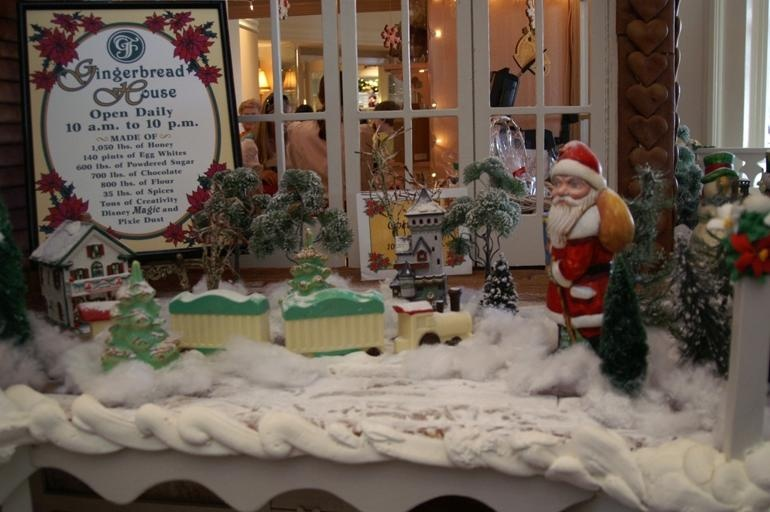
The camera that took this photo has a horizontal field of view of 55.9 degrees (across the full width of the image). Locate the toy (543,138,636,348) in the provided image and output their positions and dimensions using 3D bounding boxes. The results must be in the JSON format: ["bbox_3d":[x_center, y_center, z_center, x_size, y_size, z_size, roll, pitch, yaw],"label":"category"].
[{"bbox_3d":[0.696,-0.038,2.510,0.303,0.720,0.167,-2,4,20],"label":"toy"}]

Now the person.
[{"bbox_3d":[-0.325,-0.672,4.029,0.821,0.644,0.201,-3,4,16],"label":"person"}]
